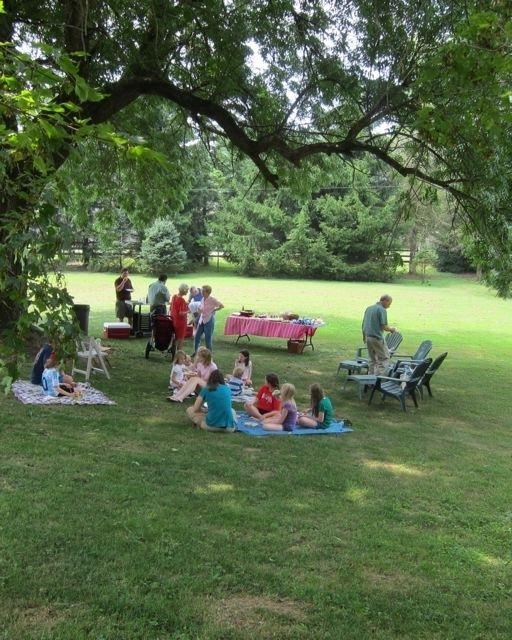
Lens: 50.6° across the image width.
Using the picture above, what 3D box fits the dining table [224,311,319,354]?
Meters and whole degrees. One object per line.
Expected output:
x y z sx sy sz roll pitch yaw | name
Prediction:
0.560 0.327 15.556 2.504 0.955 1.734 7 4 20 | dining table

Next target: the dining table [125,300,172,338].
-3.110 0.050 14.930 1.696 1.192 1.340 1 9 -6 | dining table

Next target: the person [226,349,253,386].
-0.352 0.997 11.047 0.754 0.810 0.512 1 -1 24 | person

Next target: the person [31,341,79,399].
-3.186 0.800 8.624 0.628 0.717 1.002 4 4 -24 | person

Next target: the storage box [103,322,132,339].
-3.804 0.296 14.740 0.543 0.309 0.526 2 2 -4 | storage box

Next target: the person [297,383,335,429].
0.889 1.346 8.259 0.559 0.683 0.519 3 8 -1 | person

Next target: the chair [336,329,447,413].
2.872 1.082 10.637 1.428 0.904 2.343 7 4 19 | chair

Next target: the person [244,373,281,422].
0.160 1.233 8.626 0.621 0.735 0.447 14 21 27 | person

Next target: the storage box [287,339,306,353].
1.110 0.731 14.912 0.444 0.394 0.347 1 0 -13 | storage box

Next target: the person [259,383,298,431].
0.313 1.290 8.117 0.610 0.697 0.570 9 9 28 | person
